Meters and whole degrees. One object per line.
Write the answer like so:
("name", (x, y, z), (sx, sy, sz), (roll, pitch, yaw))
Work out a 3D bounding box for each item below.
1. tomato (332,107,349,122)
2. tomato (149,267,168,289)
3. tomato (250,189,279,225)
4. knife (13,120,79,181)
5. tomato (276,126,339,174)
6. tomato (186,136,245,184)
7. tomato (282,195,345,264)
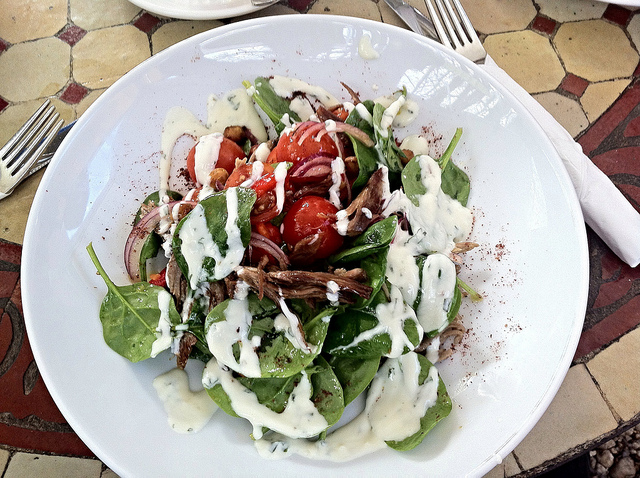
("tomato", (0.076, -0.463, 2.389), (0.043, 0.015, 0.050), (8, 84, 24))
("tomato", (-0.572, 0.145, 2.283), (0.067, 0.076, 0.073), (-15, 85, -2))
("tomato", (-0.191, -0.106, 2.176), (0.112, 0.039, 0.087), (-21, 85, -3))
("knife", (-1.029, -0.324, 2.413), (0.031, 0.033, 0.288), (36, 87, -5))
("tomato", (-0.046, -0.319, 2.296), (0.170, 0.156, 0.110), (-6, 70, -25))
("tomato", (-0.379, -0.307, 2.340), (0.175, 0.158, 0.095), (-54, 47, 21))
("tomato", (-0.031, -0.034, 2.205), (0.203, 0.074, 0.216), (-10, 85, -2))
